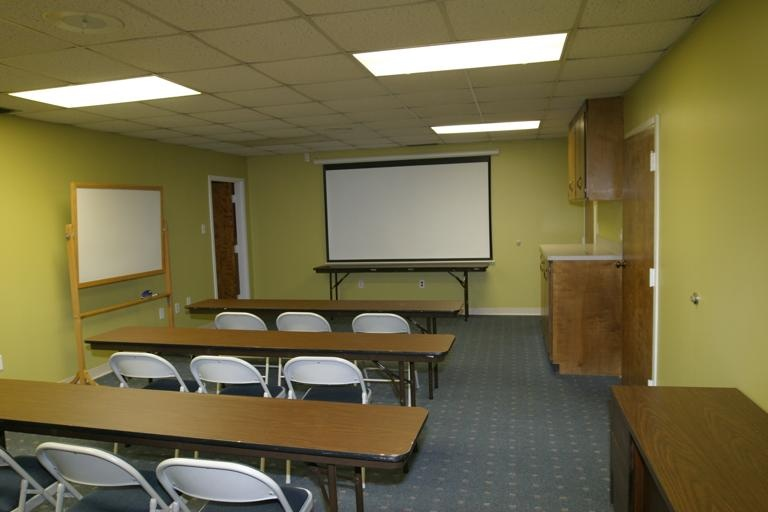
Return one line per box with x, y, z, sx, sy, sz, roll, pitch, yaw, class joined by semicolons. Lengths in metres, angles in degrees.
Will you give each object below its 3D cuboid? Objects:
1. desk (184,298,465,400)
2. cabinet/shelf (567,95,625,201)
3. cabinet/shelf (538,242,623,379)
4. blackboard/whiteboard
-1.222;1.257;6.810;4.631;0.951;1.158;-4;20;24;desk
2.331;-1.189;5.998;0.529;0.996;1.246;1;2;10;cabinet/shelf
2.375;0.644;6.658;0.851;1.393;1.051;0;6;17;cabinet/shelf
-3.221;-0.285;6.782;1.631;1.163;0.080;-1;0;25;blackboard/whiteboard
